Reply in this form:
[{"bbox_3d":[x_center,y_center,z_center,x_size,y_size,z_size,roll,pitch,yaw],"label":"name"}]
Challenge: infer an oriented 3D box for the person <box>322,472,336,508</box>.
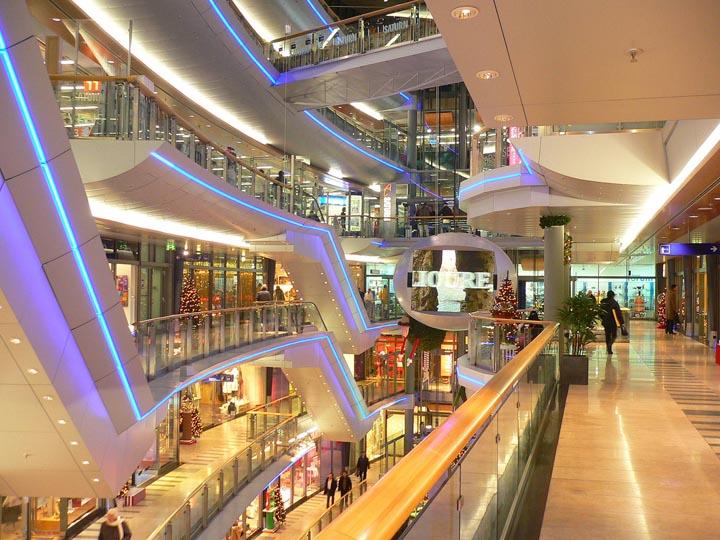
[{"bbox_3d":[-1.108,8.291,22.692,0.372,1.243,1.151,-2,1,-6],"label":"person"}]
